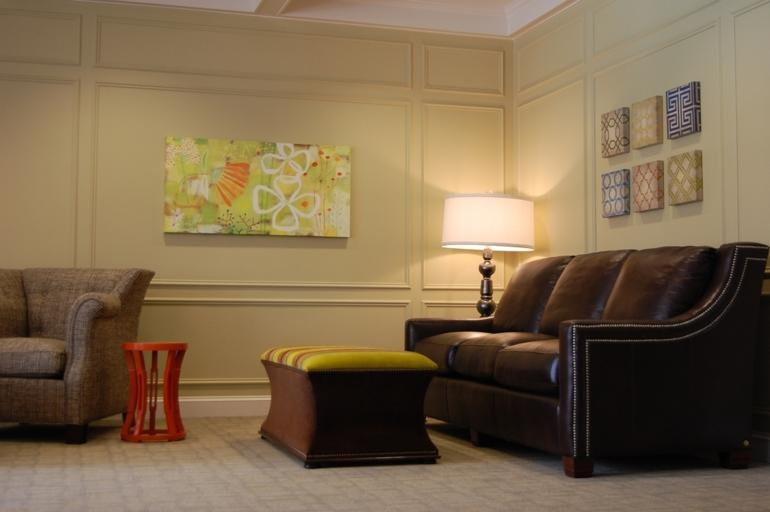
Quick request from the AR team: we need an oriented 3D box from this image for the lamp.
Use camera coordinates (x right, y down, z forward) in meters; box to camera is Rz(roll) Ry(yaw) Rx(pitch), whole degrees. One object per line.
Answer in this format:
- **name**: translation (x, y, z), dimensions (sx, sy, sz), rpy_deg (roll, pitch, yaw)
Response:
- **lamp**: translation (0.877, 0.048, 5.146), dimensions (0.767, 1.114, 0.759), rpy_deg (1, 1, -12)
